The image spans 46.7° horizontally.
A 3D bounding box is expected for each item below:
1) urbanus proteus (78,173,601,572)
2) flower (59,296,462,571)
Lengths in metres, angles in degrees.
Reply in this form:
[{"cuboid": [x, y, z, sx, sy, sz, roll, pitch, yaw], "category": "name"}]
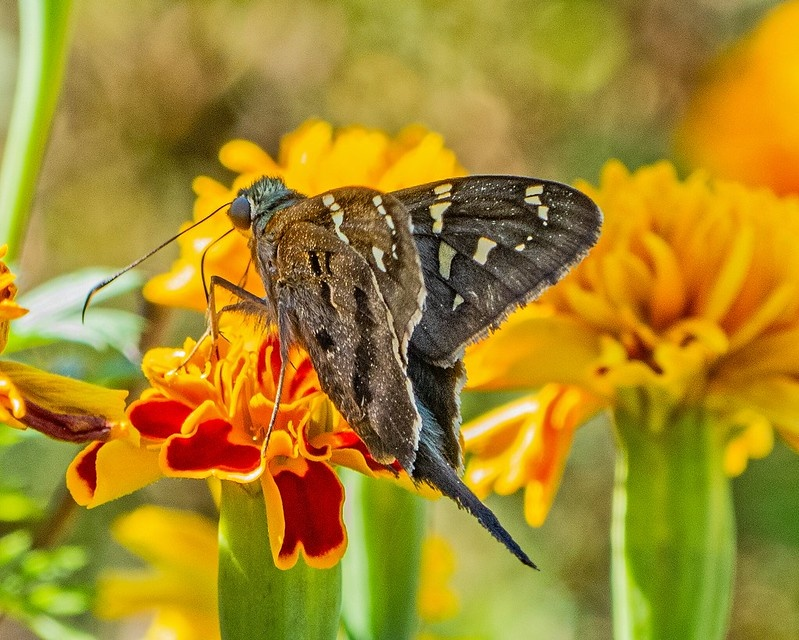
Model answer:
[{"cuboid": [-0.015, -0.013, 0.615, 0.223, 0.351, 0.159, -3, 13, -22], "category": "urbanus proteus"}, {"cuboid": [-0.099, 0.081, 0.630, 0.210, 0.166, 0.149, -3, 0, 22], "category": "flower"}]
